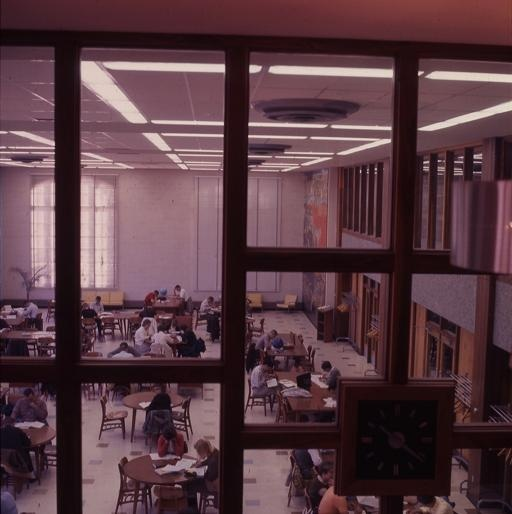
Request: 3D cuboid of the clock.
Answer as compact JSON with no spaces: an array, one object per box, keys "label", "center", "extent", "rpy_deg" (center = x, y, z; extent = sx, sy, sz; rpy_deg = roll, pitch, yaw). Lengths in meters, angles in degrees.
[{"label":"clock","center":[0.773,1.011,3.354],"extent":[0.533,0.659,0.059],"rpy_deg":[1,-2,-2]}]
